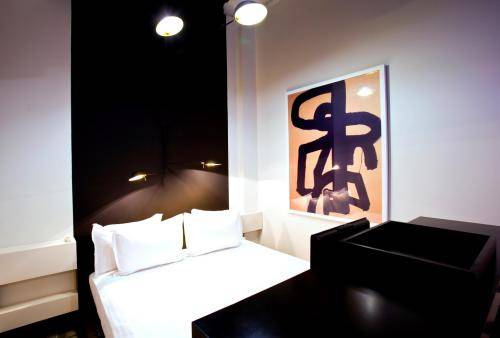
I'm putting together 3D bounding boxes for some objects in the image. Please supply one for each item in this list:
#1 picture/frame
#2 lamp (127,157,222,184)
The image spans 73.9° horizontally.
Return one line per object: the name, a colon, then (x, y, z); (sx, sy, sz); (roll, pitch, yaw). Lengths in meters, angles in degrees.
picture/frame: (0.918, -0.257, 3.627); (1.201, 1.546, 0.177); (3, 7, 44)
lamp: (-0.843, 0.001, 3.970); (1.184, 0.188, 0.122); (-6, 6, -31)
